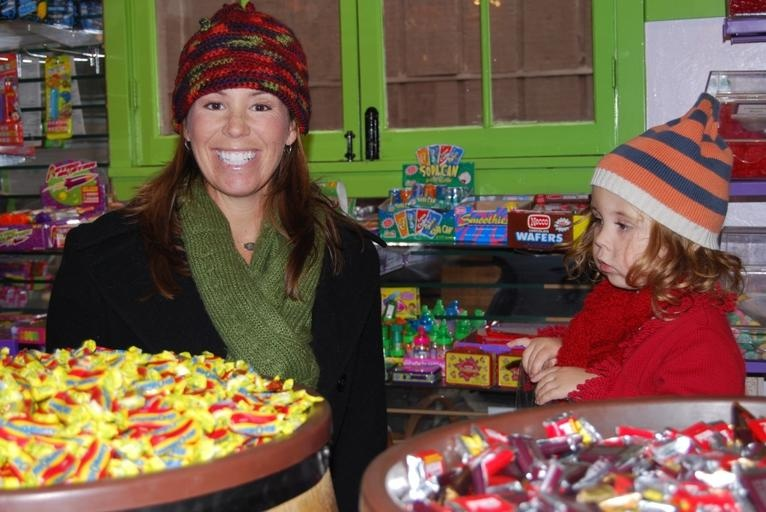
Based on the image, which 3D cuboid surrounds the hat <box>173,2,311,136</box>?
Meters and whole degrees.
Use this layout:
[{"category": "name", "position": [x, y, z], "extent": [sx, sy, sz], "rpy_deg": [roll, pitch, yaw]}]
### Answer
[{"category": "hat", "position": [-0.324, -0.439, 1.540], "extent": [0.287, 0.276, 0.294], "rpy_deg": [0, -3, -5]}]

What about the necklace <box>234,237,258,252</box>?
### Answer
[{"category": "necklace", "position": [-0.353, -0.027, 1.629], "extent": [0.052, 0.014, 0.031], "rpy_deg": [36, 33, 31]}]

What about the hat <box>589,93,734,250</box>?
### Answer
[{"category": "hat", "position": [0.671, -0.202, 1.515], "extent": [0.299, 0.357, 0.178], "rpy_deg": [-3, 13, -8]}]

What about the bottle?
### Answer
[{"category": "bottle", "position": [0.186, 0.270, 2.408], "extent": [0.331, 0.109, 0.222], "rpy_deg": [-2, 7, 31]}]
